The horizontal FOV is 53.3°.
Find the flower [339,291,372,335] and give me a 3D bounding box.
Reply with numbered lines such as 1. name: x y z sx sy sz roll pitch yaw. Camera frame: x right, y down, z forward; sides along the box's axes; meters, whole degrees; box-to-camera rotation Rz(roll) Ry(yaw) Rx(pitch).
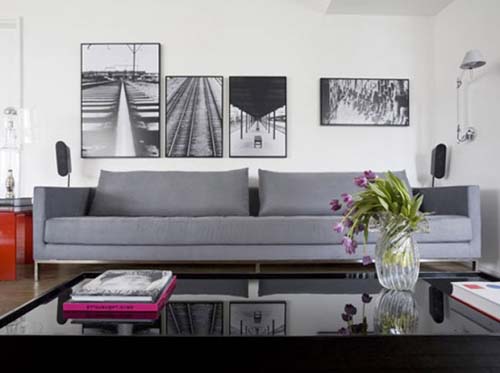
1. flower: 0.610 0.732 2.874 0.175 0.228 0.156 1 0 15

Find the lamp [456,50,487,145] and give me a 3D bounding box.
1. lamp: 2.085 -0.830 4.741 0.259 0.828 0.522 1 4 22

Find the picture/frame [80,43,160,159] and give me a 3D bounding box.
1. picture/frame: -1.380 -0.919 5.271 1.085 1.725 0.025 0 -2 -1

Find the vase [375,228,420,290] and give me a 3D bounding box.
1. vase: 0.861 0.438 3.126 0.320 0.487 0.293 0 0 0

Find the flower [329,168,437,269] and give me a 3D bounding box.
1. flower: 0.824 0.087 3.122 0.467 0.669 0.381 6 22 11
